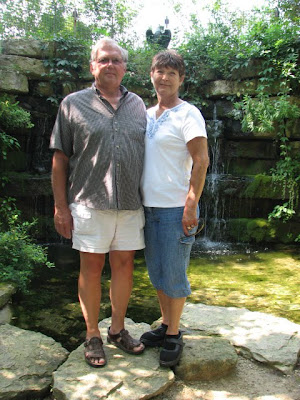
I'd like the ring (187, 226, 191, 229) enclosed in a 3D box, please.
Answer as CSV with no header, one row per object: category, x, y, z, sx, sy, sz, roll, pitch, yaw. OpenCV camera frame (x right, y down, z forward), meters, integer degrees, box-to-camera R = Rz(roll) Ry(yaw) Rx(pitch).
ring,0.216,0.154,1.950,0.019,0.014,0.004,3,1,-9

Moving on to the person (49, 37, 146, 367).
person,-0.292,-0.036,2.036,0.566,1.868,0.382,1,3,-9

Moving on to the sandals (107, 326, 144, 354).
sandals,-0.145,0.834,2.151,0.262,0.087,0.097,7,15,38

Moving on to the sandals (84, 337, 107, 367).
sandals,-0.301,0.840,1.964,0.115,0.127,0.149,1,3,-18

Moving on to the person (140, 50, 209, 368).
person,0.109,0.042,2.066,0.271,1.805,0.424,0,3,-27
